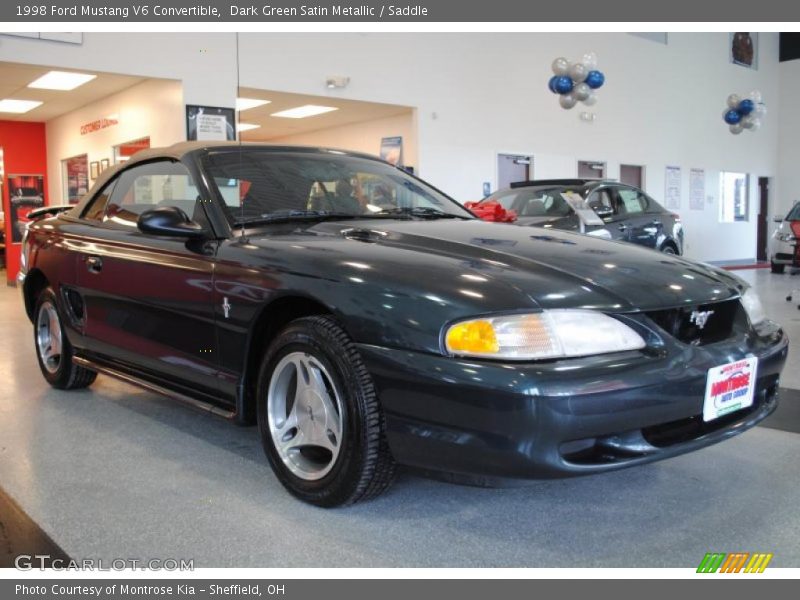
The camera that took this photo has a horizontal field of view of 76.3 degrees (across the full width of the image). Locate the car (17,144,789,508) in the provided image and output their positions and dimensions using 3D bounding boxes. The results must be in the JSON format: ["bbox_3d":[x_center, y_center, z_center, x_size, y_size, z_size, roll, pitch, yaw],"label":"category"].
[{"bbox_3d":[-0.527,0.050,2.462,3.313,0.950,1.576,5,7,37],"label":"car"}]
